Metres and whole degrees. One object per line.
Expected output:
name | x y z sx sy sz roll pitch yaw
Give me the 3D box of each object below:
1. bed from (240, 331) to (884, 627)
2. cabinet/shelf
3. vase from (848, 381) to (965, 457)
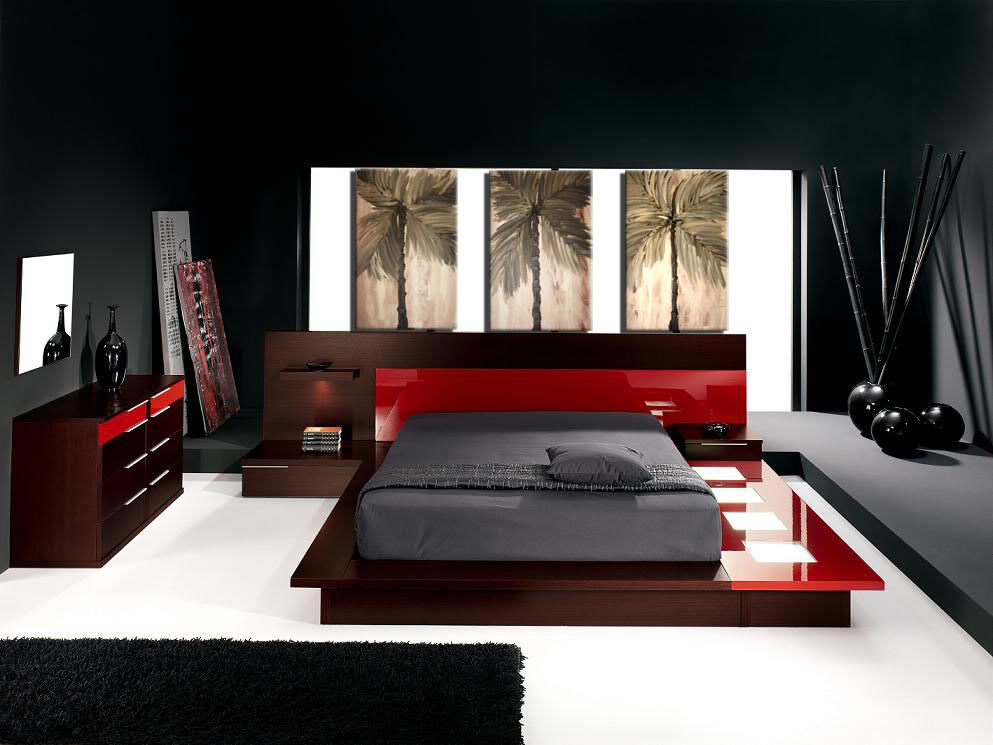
bed | 0.040 0.463 4.552 3.648 1.078 2.386 0 11 1
cabinet/shelf | -2.318 0.580 4.255 0.312 0.578 0.944 0 5 -3
vase | 3.020 0.357 5.549 0.412 0.371 0.940 -14 -5 34
